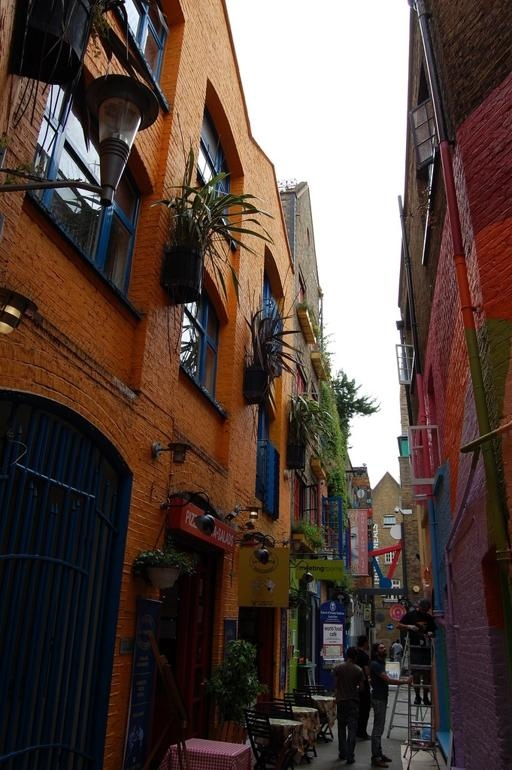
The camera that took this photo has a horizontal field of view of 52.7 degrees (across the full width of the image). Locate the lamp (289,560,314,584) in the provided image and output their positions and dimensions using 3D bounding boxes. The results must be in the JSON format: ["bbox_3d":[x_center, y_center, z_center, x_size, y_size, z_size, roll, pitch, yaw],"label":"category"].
[{"bbox_3d":[1.396,5.460,15.222,0.766,0.779,2.565,-1,-26,5],"label":"lamp"}]

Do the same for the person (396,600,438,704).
[{"bbox_3d":[2.877,4.727,9.155,0.581,1.791,0.580,0,-7,7],"label":"person"}]

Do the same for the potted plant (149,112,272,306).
[{"bbox_3d":[-0.644,-2.207,6.731,1.178,1.650,2.045,-8,-50,-23],"label":"potted plant"}]

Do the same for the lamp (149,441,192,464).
[{"bbox_3d":[-0.999,0.762,6.034,0.282,0.176,0.281,0,-14,6],"label":"lamp"}]

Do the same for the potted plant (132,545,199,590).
[{"bbox_3d":[-0.964,1.857,5.333,0.413,0.395,0.605,-5,-26,13],"label":"potted plant"}]

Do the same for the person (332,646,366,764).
[{"bbox_3d":[1.632,5.605,9.117,0.480,1.765,0.805,-3,-23,10],"label":"person"}]
